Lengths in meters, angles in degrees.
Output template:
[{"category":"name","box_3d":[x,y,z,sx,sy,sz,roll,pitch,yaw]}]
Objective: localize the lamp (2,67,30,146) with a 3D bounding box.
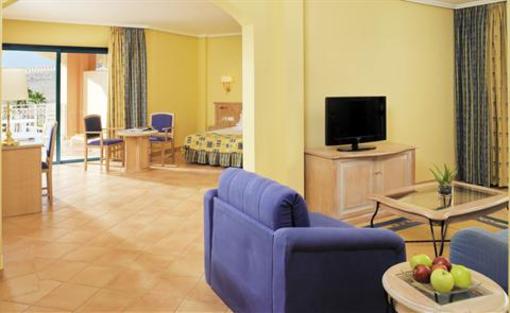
[{"category":"lamp","box_3d":[-3.540,-0.756,5.360,0.382,1.139,0.654,-6,10,-32]}]

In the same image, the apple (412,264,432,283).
[{"category":"apple","box_3d":[1.259,0.889,2.748,0.103,0.089,0.090,34,23,-4]}]

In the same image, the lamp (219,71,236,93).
[{"category":"lamp","box_3d":[-0.719,-2.024,9.804,0.365,0.595,0.509,-2,8,-5]}]

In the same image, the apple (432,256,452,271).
[{"category":"apple","box_3d":[1.425,0.810,2.815,0.127,0.110,0.117,-4,4,-7]}]

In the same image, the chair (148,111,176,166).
[{"category":"chair","box_3d":[-2.366,-0.454,8.731,0.953,1.198,0.935,-4,10,-31]}]

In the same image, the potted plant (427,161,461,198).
[{"category":"potted plant","box_3d":[2.417,0.333,4.667,0.337,0.414,0.430,3,-2,17]}]

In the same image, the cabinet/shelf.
[{"category":"cabinet/shelf","box_3d":[1.682,0.394,5.830,1.883,1.057,0.943,-7,7,-31]}]

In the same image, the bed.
[{"category":"bed","box_3d":[-1.102,-0.498,9.223,1.626,1.388,2.333,2,-2,-12]}]

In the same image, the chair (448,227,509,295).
[{"category":"chair","box_3d":[2.061,0.916,3.324,0.502,0.396,0.485,3,0,42]}]

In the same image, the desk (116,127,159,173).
[{"category":"desk","box_3d":[-2.578,-0.138,7.989,0.950,0.844,0.934,5,9,22]}]

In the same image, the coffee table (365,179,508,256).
[{"category":"coffee table","box_3d":[2.273,0.967,4.462,1.390,0.487,1.059,-6,7,-34]}]

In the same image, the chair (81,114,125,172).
[{"category":"chair","box_3d":[-3.323,-0.332,8.108,0.958,1.093,0.899,-4,13,-37]}]

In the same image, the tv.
[{"category":"tv","box_3d":[1.551,-0.511,5.645,1.212,0.810,0.353,-6,9,-27]}]

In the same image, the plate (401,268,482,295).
[{"category":"plate","box_3d":[1.399,0.971,2.732,0.312,0.048,0.296,-2,4,-18]}]
